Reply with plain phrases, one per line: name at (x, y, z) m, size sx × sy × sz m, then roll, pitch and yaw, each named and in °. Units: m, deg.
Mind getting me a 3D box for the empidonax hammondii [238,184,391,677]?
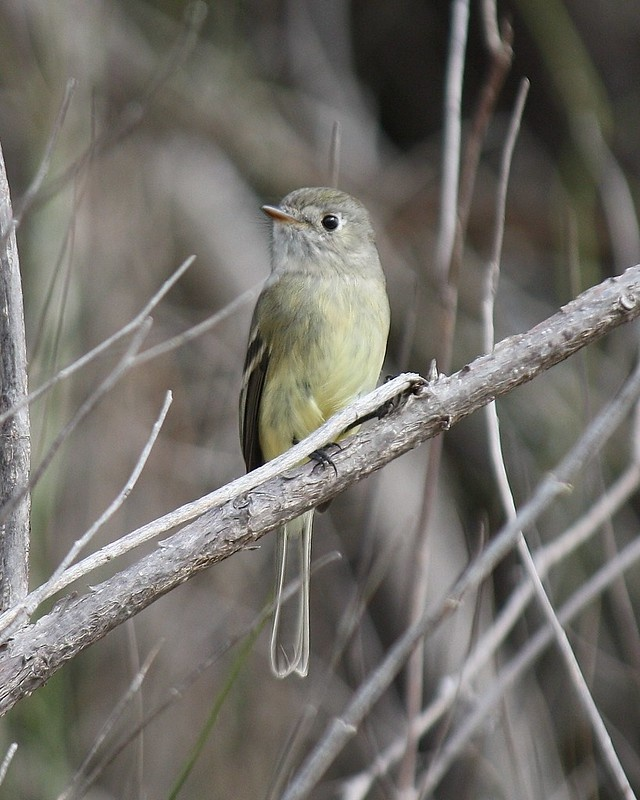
empidonax hammondii at (-0.009, -0.212, 2.615) m, size 0.380 × 0.562 × 0.685 m, roll 8°, pitch -62°, yaw -2°
